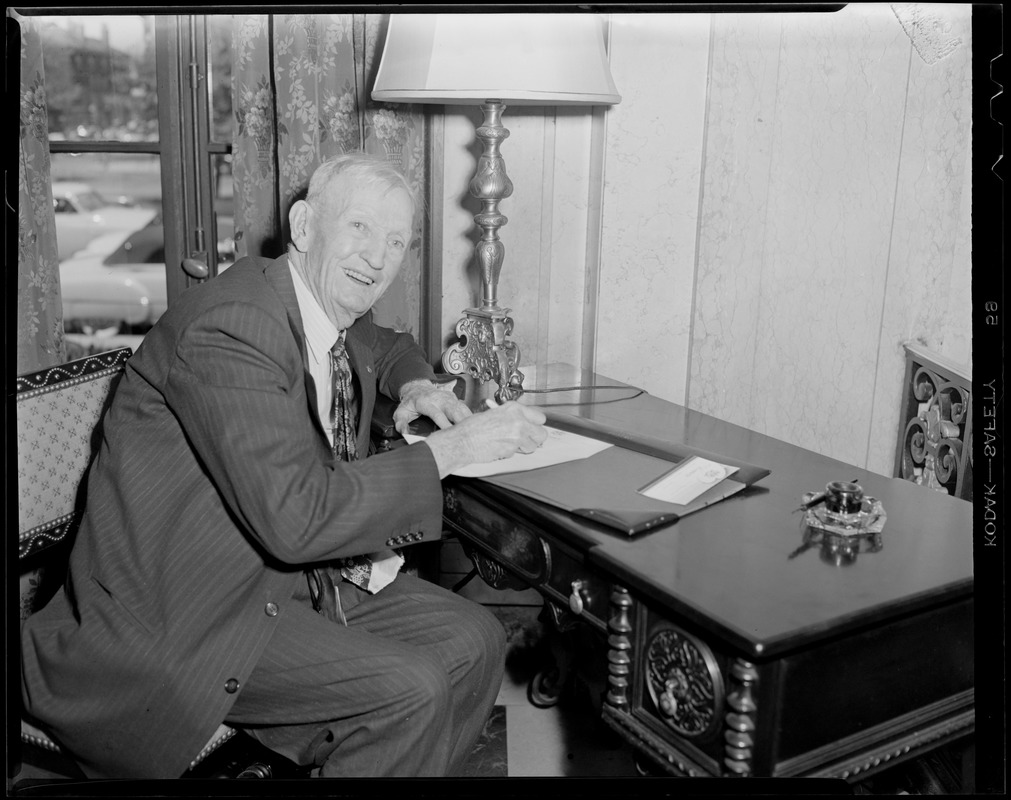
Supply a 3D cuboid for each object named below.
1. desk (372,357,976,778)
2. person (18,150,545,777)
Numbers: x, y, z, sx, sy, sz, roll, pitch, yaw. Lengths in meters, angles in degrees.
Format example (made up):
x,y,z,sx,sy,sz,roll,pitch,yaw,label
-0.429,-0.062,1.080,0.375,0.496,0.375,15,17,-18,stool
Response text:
x,y,z,sx,sy,sz,roll,pitch,yaw,label
0.380,0.326,1.495,0.655,0.445,0.836,-2,8,-29,desk
-0.436,0.041,2.151,1.142,1.834,0.876,0,10,-3,person
